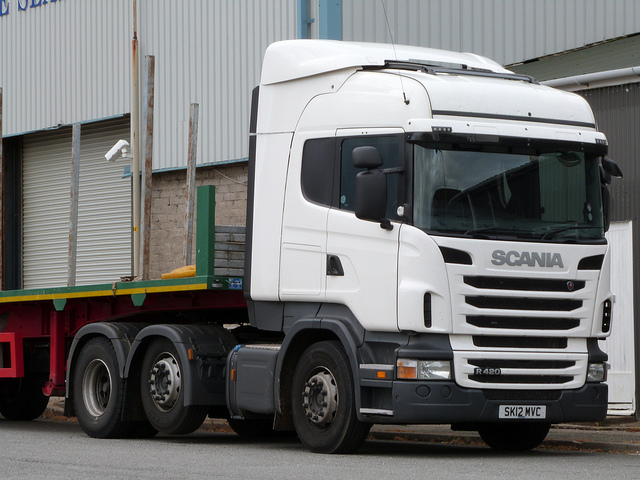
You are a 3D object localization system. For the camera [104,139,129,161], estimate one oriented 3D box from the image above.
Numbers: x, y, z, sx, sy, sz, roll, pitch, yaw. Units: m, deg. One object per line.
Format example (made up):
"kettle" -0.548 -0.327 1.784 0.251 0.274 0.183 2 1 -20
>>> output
"camera" -4.141 -1.862 23.876 0.403 0.418 0.737 -9 2 14

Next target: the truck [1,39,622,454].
"truck" -0.622 0.274 16.619 3.757 4.627 9.078 3 -6 -39
